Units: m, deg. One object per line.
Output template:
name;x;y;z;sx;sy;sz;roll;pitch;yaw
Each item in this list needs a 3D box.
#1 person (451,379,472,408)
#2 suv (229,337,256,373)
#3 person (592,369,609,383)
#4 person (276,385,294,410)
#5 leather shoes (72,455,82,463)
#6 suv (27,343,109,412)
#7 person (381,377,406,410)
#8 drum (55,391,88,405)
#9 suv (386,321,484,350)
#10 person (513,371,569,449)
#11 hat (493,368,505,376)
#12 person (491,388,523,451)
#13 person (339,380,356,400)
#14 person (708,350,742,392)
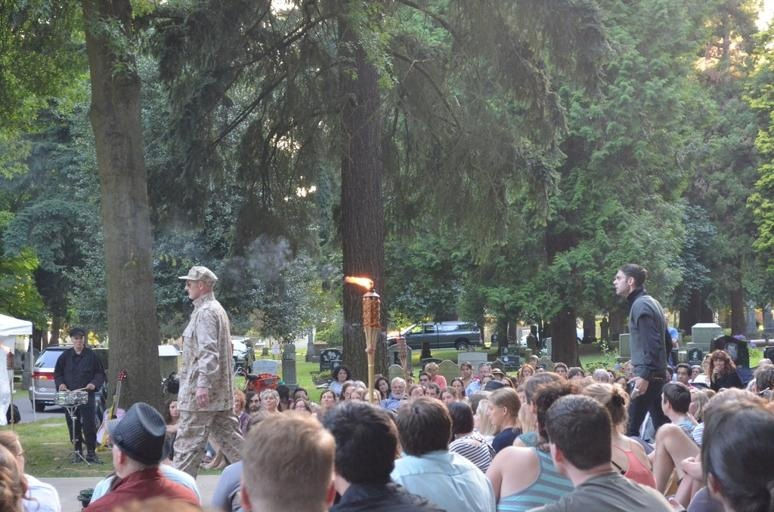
person;2.267;4.210;43.657;0.813;0.892;0.487;-5;-13;2
suv;-5.928;4.026;57.823;1.026;0.912;2.113;-1;-9;1
person;6.467;3.567;42.254;0.481;0.497;1.836;-3;-11;10
person;-3.200;4.363;43.438;0.700;1.004;0.578;-1;5;3
leather shoes;-9.482;6.178;42.895;0.231;0.343;0.254;5;-16;-32
suv;-12.226;4.358;49.799;2.291;2.059;4.086;-1;-2;11
person;0.277;4.246;42.874;1.139;1.067;0.626;3;-2;7
drum;-9.597;4.314;42.728;0.633;0.308;0.507;-1;-7;-1
suv;2.700;3.722;71.402;4.765;1.547;1.862;2;-4;-21
person;3.927;4.241;37.283;0.862;1.511;1.100;8;-8;23
hat;3.694;3.832;46.506;0.499;0.192;0.527;3;-6;-8
person;3.224;4.390;37.660;0.782;1.543;1.540;5;2;26
person;-1.200;3.994;42.087;0.462;0.763;0.485;7;-10;-2
person;10.236;3.456;42.652;0.895;1.262;0.818;-4;-10;20
